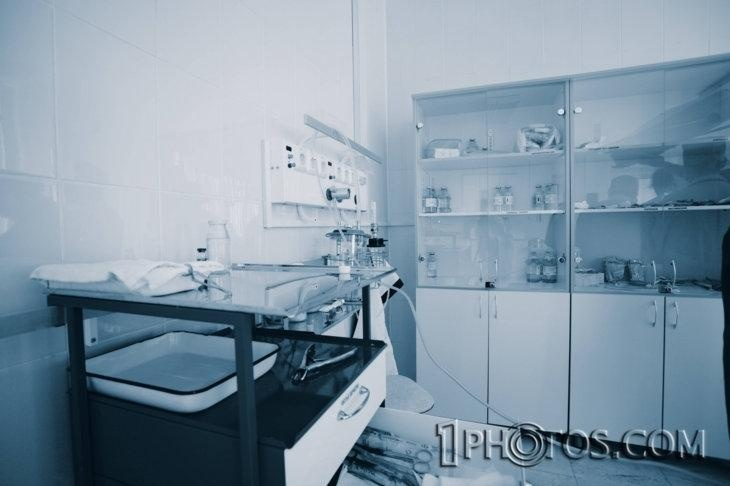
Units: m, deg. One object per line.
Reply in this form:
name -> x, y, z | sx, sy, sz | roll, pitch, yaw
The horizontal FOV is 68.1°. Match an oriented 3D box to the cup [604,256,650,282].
cup -> 1.764, 0.183, 3.663 | 0.209, 0.118, 0.157 | 1, -2, 17

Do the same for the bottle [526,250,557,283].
bottle -> 1.220, 0.166, 3.703 | 0.211, 0.294, 0.114 | 0, -4, 17

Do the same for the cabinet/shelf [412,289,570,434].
cabinet/shelf -> 0.796, 0.792, 3.847 | 0.947, 0.884, 0.312 | 6, -10, -19

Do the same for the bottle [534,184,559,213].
bottle -> 1.252, -0.317, 3.733 | 0.136, 0.192, 0.177 | 0, -4, 11

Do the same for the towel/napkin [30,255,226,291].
towel/napkin -> -0.949, 0.120, 2.145 | 0.677, 0.112, 0.309 | 1, 0, 0

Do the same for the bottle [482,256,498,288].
bottle -> 0.875, 0.203, 3.763 | 0.109, 0.190, 0.082 | 1, 1, 12

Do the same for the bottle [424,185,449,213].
bottle -> 0.528, -0.313, 3.946 | 0.230, 0.223, 0.128 | -1, -1, 0

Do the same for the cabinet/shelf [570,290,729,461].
cabinet/shelf -> 1.833, 0.827, 3.395 | 1.106, 1.038, 0.429 | 0, 0, 13
